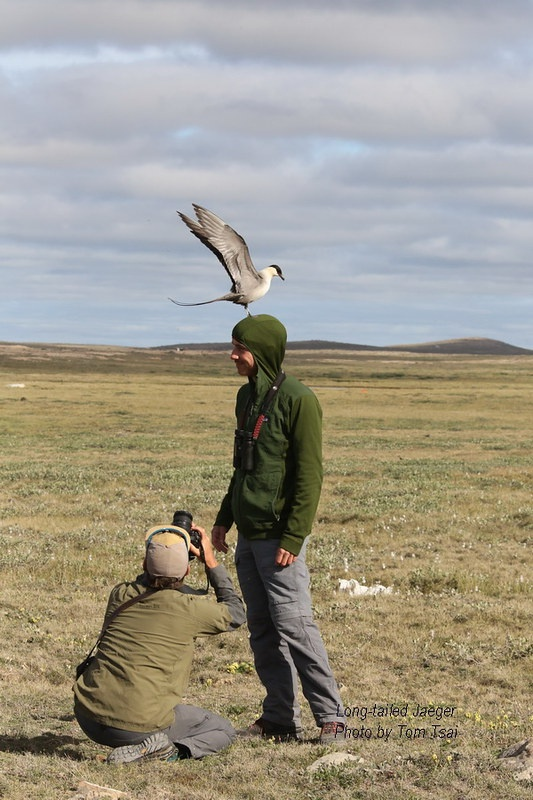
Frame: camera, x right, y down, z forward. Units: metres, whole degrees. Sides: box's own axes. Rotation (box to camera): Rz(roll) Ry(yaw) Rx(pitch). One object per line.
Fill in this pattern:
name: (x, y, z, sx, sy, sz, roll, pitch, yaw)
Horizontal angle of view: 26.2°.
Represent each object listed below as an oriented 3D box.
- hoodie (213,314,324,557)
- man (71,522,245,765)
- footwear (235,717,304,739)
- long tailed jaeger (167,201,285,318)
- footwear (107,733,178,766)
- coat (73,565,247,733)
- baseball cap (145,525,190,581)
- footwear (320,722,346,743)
hoodie: (0.074, 0.238, 8.278, 0.627, 1.700, 1.190, -2, 6, -15)
man: (-0.777, 1.732, 8.090, 1.246, 1.515, 1.251, 4, 2, 4)
footwear: (0.038, 2.469, 8.496, 0.511, 0.173, 0.163, 7, -10, 11)
long tailed jaeger: (-0.375, -1.167, 10.693, 1.106, 0.892, 1.429, -10, -9, 8)
footwear: (-0.828, 2.395, 7.838, 0.561, 0.219, 0.180, 6, -9, -17)
coat: (-0.808, 1.707, 8.152, 1.149, 1.163, 1.068, 5, 5, -23)
baseball cap: (-0.691, 1.037, 7.856, 0.301, 0.212, 0.379, 5, 36, -5)
footwear: (0.474, 2.396, 8.245, 0.175, 0.177, 0.127, -1, 6, -4)
